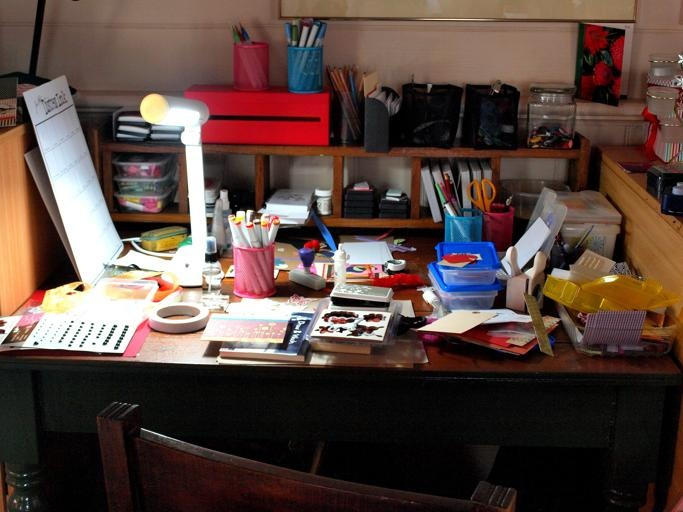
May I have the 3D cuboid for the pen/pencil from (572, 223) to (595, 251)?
[{"bbox_3d":[0.824,-0.070,1.794,0.112,0.023,0.028,-42,-6,-9],"label":"pen/pencil"}]

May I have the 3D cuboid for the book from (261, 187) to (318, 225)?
[{"bbox_3d":[-0.219,-0.206,2.145,0.214,0.090,0.289,-2,19,-2],"label":"book"}]

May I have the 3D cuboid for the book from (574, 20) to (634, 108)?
[{"bbox_3d":[1.039,-0.778,2.100,0.034,0.304,0.234,-25,38,-11],"label":"book"}]

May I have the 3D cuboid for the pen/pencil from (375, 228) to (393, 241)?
[{"bbox_3d":[0.176,-0.086,2.151,0.012,0.023,0.122,-18,15,49],"label":"pen/pencil"}]

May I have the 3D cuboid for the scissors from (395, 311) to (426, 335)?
[{"bbox_3d":[0.200,0.198,1.529,0.088,0.031,0.046,-5,22,2],"label":"scissors"}]

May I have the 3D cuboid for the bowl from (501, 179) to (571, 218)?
[{"bbox_3d":[0.759,-0.267,2.176,0.360,0.154,0.266,1,16,-2],"label":"bowl"}]

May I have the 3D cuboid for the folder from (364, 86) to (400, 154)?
[{"bbox_3d":[0.159,-0.531,2.037,0.125,0.234,0.193,3,21,13],"label":"folder"}]

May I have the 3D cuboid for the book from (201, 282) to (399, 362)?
[{"bbox_3d":[-0.119,0.193,1.492,0.524,0.076,0.589,2,13,8],"label":"book"}]

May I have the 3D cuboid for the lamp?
[{"bbox_3d":[-0.527,-0.219,1.709,0.161,0.630,0.248,19,27,27],"label":"lamp"}]

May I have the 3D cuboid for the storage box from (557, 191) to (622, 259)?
[{"bbox_3d":[0.879,-0.116,1.923,0.196,0.129,0.270,1,23,3],"label":"storage box"}]

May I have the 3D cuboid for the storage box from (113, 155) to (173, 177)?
[{"bbox_3d":[-0.797,-0.365,2.096,0.160,0.045,0.116,1,17,-2],"label":"storage box"}]
